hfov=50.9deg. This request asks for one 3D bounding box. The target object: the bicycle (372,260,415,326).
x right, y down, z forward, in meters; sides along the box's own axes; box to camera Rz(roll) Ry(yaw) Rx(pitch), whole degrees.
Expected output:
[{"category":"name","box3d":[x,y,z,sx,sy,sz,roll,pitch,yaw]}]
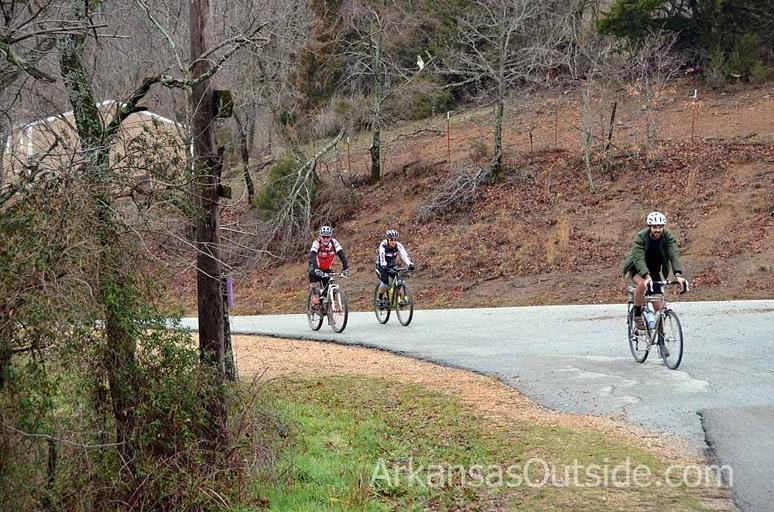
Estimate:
[{"category":"bicycle","box3d":[0.271,0.821,21.490,1.003,1.390,2.298,0,19,-5]}]

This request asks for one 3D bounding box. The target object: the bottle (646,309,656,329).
[{"category":"bottle","box3d":[5.033,1.231,15.440,0.157,0.286,0.355,0,12,8]}]

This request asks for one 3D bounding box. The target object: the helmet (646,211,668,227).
[{"category":"helmet","box3d":[5.282,-0.734,15.871,0.310,0.255,0.603,1,13,14]}]

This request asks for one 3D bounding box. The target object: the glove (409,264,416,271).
[{"category":"glove","box3d":[0.651,0.292,21.104,0.143,0.093,0.183,0,10,-1]}]

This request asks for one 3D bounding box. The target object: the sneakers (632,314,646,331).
[{"category":"sneakers","box3d":[4.917,1.292,15.748,0.211,0.277,0.671,-9,-8,9]}]

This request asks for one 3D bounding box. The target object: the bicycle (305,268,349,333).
[{"category":"bicycle","box3d":[-1.490,1.294,20.712,0.807,1.070,1.717,2,-6,-21]}]

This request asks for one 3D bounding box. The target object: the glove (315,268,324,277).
[{"category":"glove","box3d":[-1.728,0.422,20.675,0.267,0.226,0.185,-11,15,-36]}]

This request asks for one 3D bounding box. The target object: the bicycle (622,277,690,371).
[{"category":"bicycle","box3d":[5.162,1.312,15.444,0.692,1.598,1.849,-3,12,-4]}]
